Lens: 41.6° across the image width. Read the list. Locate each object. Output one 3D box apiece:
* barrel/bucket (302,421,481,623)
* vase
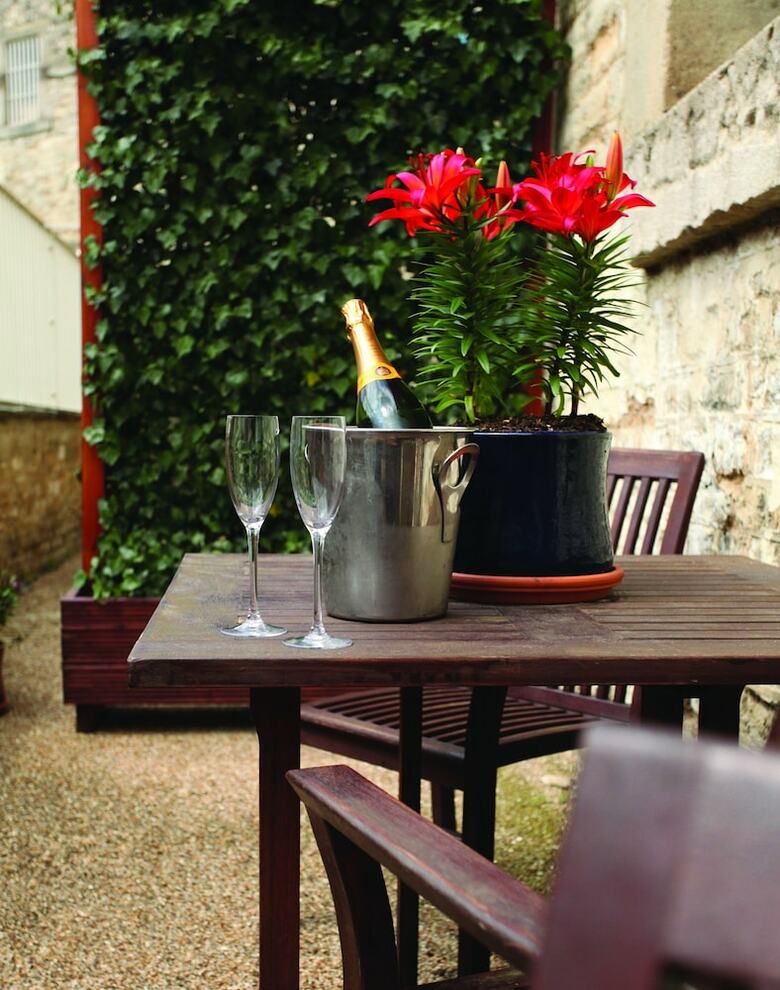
[{"bbox_3d":[0.012,0.024,0.984,0.196,0.184,0.160,2,-3,0],"label":"barrel/bucket"},{"bbox_3d":[0.147,0.022,1.105,0.169,0.162,0.172,0,-3,-7],"label":"vase"}]
